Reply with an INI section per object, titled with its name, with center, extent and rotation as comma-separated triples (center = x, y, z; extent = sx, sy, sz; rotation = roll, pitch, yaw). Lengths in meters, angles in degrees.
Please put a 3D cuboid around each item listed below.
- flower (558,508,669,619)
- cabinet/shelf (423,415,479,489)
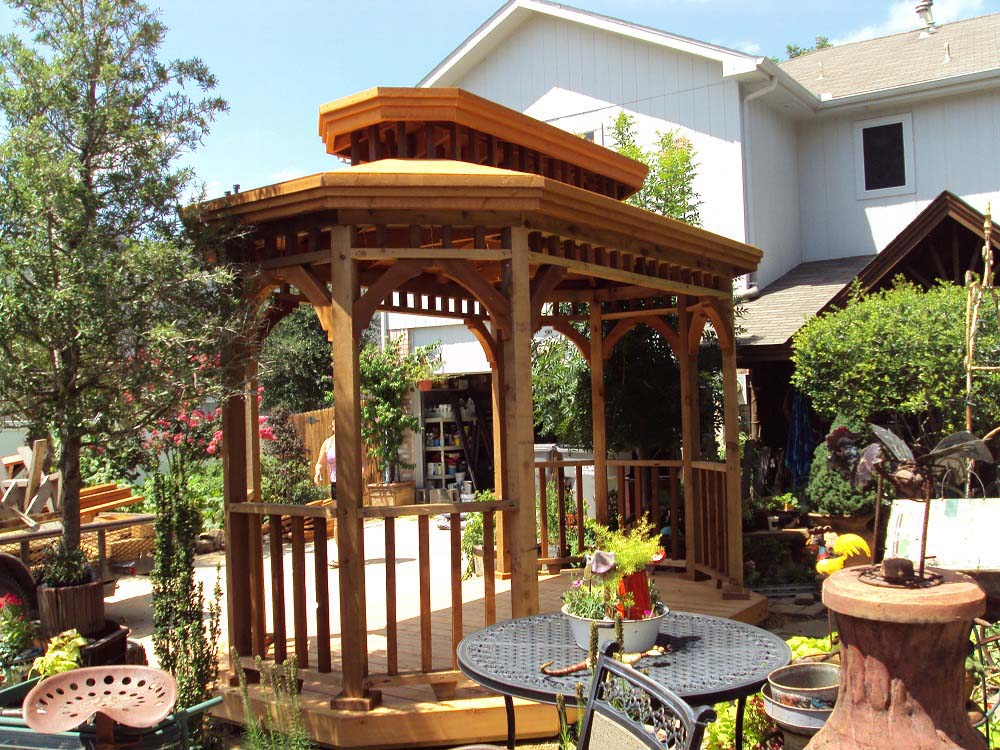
[flower]
center = 0.786, 1.334, 6.797
extent = 0.636, 0.845, 0.736
rotation = -4, -4, 40
[cabinet/shelf]
center = -0.830, 1.460, 19.185
extent = 1.220, 1.959, 1.000
rotation = -1, -5, -14
